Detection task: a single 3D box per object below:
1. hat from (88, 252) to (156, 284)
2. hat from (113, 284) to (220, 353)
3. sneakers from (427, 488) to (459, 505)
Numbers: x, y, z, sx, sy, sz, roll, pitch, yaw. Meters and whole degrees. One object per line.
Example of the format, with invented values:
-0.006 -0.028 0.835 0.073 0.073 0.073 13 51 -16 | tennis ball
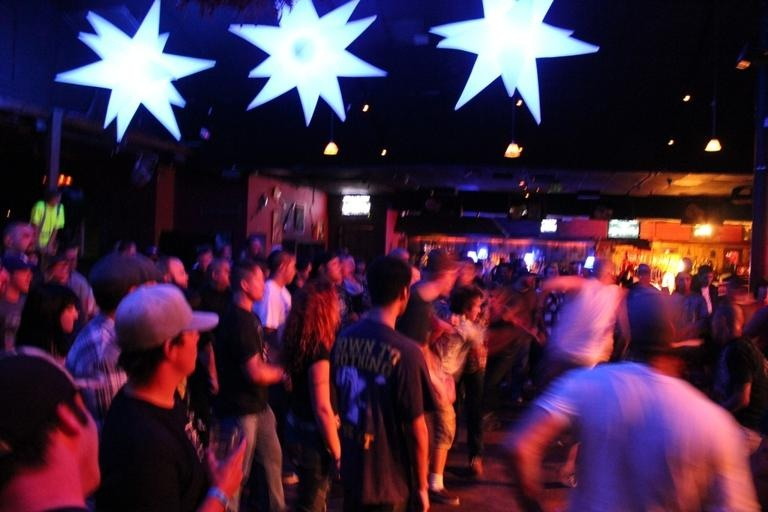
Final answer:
-1.772 0.150 3.945 0.253 0.195 0.333 8 -9 19 | hat
-1.190 0.328 3.057 0.435 0.266 0.310 -15 18 -26 | hat
0.610 2.393 5.611 0.235 0.109 0.145 0 -5 8 | sneakers
